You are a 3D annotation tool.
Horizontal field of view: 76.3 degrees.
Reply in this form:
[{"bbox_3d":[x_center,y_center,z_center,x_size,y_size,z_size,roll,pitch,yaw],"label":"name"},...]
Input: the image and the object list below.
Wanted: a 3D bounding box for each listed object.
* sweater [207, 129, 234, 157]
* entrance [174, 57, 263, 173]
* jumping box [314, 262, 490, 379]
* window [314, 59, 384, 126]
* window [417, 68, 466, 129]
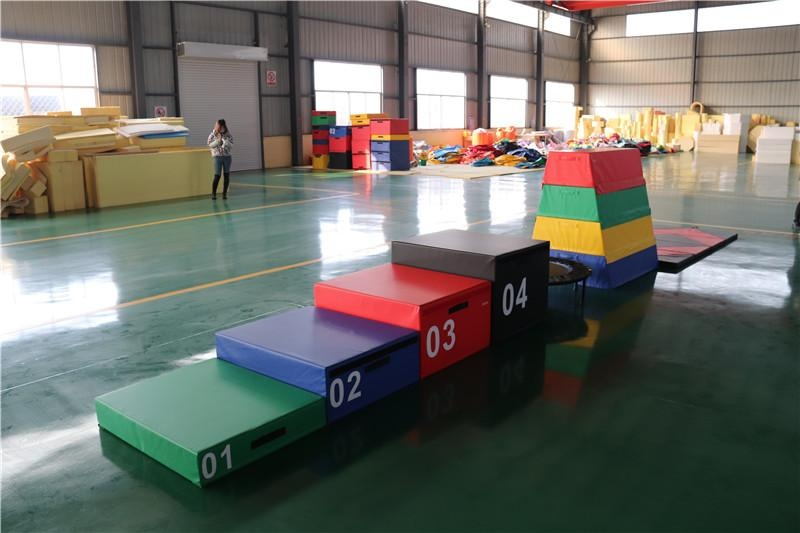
[{"bbox_3d":[-3.919,-2.691,11.138,0.464,0.526,0.315,-9,18,-21],"label":"sweater"},{"bbox_3d":[-5.764,-4.965,16.896,0.329,3.464,2.772,9,20,36],"label":"entrance"},{"bbox_3d":[0.148,0.276,3.881,0.815,0.508,1.107,-16,22,-42],"label":"jumping box"},{"bbox_3d":[-1.972,-6.904,20.215,0.771,2.282,3.354,10,20,38],"label":"window"},{"bbox_3d":[1.829,-7.834,23.595,0.052,2.278,3.274,6,10,42],"label":"window"}]
